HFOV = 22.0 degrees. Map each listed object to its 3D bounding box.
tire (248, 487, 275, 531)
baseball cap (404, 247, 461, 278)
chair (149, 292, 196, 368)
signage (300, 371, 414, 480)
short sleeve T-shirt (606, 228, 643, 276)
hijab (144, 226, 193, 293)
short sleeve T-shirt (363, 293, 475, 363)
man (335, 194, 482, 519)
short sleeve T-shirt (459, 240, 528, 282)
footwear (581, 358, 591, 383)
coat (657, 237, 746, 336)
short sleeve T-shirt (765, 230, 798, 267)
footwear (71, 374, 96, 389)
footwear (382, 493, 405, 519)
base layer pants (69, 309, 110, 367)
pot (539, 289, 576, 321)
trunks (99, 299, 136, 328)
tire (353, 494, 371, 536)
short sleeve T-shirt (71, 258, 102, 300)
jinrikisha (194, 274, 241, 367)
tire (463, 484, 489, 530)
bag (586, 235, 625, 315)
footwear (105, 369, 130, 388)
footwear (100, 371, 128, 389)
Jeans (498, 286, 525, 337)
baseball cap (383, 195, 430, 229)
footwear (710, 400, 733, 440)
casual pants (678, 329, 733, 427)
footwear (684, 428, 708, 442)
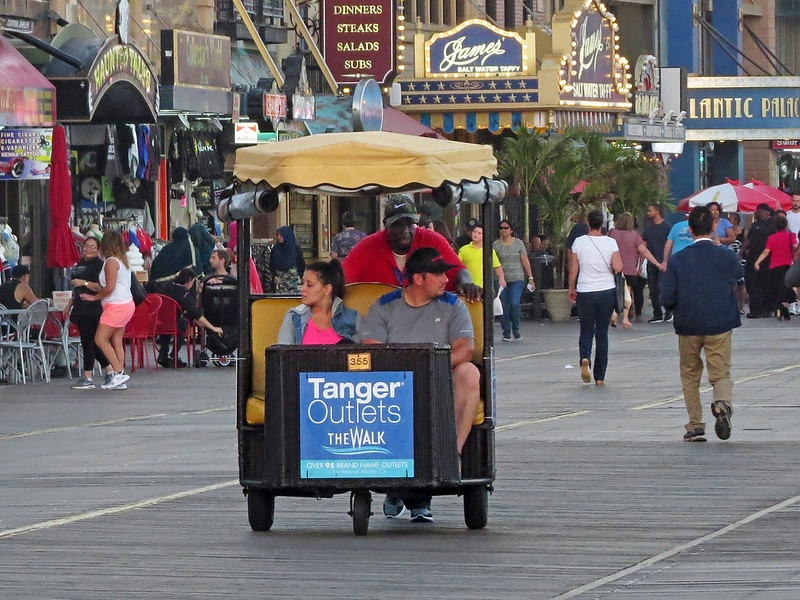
[{"bbox_3d":[-1.115,1.667,16.805,0.151,0.380,0.384,-2,1,1],"label":"tire"},{"bbox_3d":[0.271,-0.318,16.866,0.343,0.175,0.217,2,8,11],"label":"baseball cap"},{"bbox_3d":[-3.077,0.383,27.830,0.763,0.889,0.750,2,-3,-18],"label":"chair"},{"bbox_3d":[-0.318,0.995,16.545,0.878,0.763,0.091,-1,-6,2],"label":"signage"},{"bbox_3d":[3.347,-0.738,30.567,0.719,0.674,0.388,5,16,23],"label":"short sleeve T-shirt"},{"bbox_3d":[-3.475,-0.637,31.471,0.594,0.342,1.269,5,-44,-25],"label":"hijab"},{"bbox_3d":[0.133,0.162,16.920,0.866,0.599,0.431,0,-5,5],"label":"short sleeve T-shirt"},{"bbox_3d":[0.115,0.259,17.196,1.095,2.376,1.373,-5,2,-9],"label":"man"},{"bbox_3d":[1.477,-0.585,32.066,1.062,0.707,0.312,-3,6,-14],"label":"short sleeve T-shirt"},{"bbox_3d":[2.294,0.842,24.895,0.112,0.333,0.136,-7,5,0],"label":"footwear"},{"bbox_3d":[3.036,-0.144,20.941,0.970,0.960,0.593,-4,8,-7],"label":"coat"},{"bbox_3d":[6.438,-0.878,34.698,0.752,0.813,0.457,1,-2,11],"label":"short sleeve T-shirt"},{"bbox_3d":[-3.925,1.000,25.557,0.352,0.161,0.122,1,1,25],"label":"footwear"},{"bbox_3d":[-0.043,1.721,17.365,0.117,0.133,0.318,-1,-2,5],"label":"footwear"},{"bbox_3d":[-3.771,0.497,25.672,0.473,0.754,0.377,-8,-2,17],"label":"base layer pants"},{"bbox_3d":[2.854,0.048,36.714,0.621,0.531,0.617,-1,0,0],"label":"pot"},{"bbox_3d":[-3.483,0.190,25.608,0.304,0.310,0.440,9,-8,-25],"label":"trunks"},{"bbox_3d":[-0.297,1.706,16.670,0.183,0.314,0.317,0,-5,0],"label":"tire"},{"bbox_3d":[-3.852,-0.270,25.667,0.490,0.467,0.272,-4,-9,43],"label":"short sleeve T-shirt"},{"bbox_3d":[-2.405,0.211,28.369,0.751,1.289,0.874,-1,5,-9],"label":"jinrikisha"},{"bbox_3d":[0.636,1.659,16.830,0.147,0.379,0.385,-1,3,8],"label":"tire"},{"bbox_3d":[2.597,-0.149,25.223,0.154,0.700,0.358,-11,-13,-12],"label":"bag"},{"bbox_3d":[-3.450,0.965,25.464,0.350,0.156,0.127,-36,5,-38],"label":"footwear"},{"bbox_3d":[-3.456,0.966,25.442,0.146,0.177,0.400,-1,0,35],"label":"footwear"},{"bbox_3d":[1.754,0.078,32.214,0.409,1.020,0.422,-1,-10,8],"label":"Jeans"},{"bbox_3d":[0.003,-0.751,17.240,0.248,0.180,0.315,-2,7,-16],"label":"baseball cap"},{"bbox_3d":[3.206,1.156,20.402,0.166,0.410,0.208,-11,-10,30],"label":"footwear"},{"bbox_3d":[3.103,0.793,20.782,0.508,0.980,0.780,-2,2,8],"label":"casual pants"},{"bbox_3d":[2.947,1.306,20.491,0.222,0.146,0.175,-2,2,8],"label":"footwear"}]
